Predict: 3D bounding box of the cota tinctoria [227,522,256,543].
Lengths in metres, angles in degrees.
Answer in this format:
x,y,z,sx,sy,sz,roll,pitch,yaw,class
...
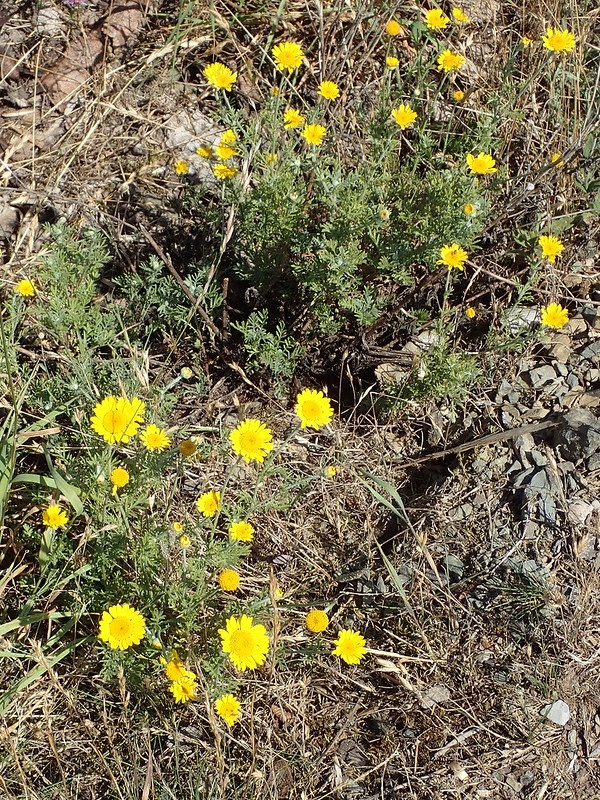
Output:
x,y,z,sx,sy,sz,roll,pitch,yaw,class
-0.189,0.412,2.243,0.070,0.072,0.074,3,67,-9,cota tinctoria

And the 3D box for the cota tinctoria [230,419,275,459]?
x,y,z,sx,sy,sz,roll,pitch,yaw,class
-0.161,0.128,2.184,0.134,0.046,0.125,18,63,-18,cota tinctoria

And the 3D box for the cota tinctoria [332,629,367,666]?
x,y,z,sx,sy,sz,roll,pitch,yaw,class
0.146,0.811,2.334,0.104,0.178,0.109,0,68,-9,cota tinctoria

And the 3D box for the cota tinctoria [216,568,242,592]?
x,y,z,sx,sy,sz,roll,pitch,yaw,class
-0.212,0.526,2.066,0.047,0.234,0.064,6,67,-7,cota tinctoria

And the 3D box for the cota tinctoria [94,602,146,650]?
x,y,z,sx,sy,sz,roll,pitch,yaw,class
-0.519,0.659,2.058,0.124,0.097,0.114,31,66,4,cota tinctoria

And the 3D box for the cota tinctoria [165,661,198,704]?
x,y,z,sx,sy,sz,roll,pitch,yaw,class
-0.363,0.866,2.181,0.081,0.303,0.128,-22,73,-17,cota tinctoria

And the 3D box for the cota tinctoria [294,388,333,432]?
x,y,z,sx,sy,sz,roll,pitch,yaw,class
0.028,0.042,2.257,0.153,0.052,0.136,-1,80,-35,cota tinctoria

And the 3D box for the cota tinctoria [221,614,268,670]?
x,y,z,sx,sy,sz,roll,pitch,yaw,class
-0.165,0.707,2.073,0.126,0.184,0.153,-31,76,-20,cota tinctoria

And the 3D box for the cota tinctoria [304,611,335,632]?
x,y,z,sx,sy,sz,roll,pitch,yaw,class
0.041,0.672,2.153,0.064,0.177,0.067,-2,68,-10,cota tinctoria
